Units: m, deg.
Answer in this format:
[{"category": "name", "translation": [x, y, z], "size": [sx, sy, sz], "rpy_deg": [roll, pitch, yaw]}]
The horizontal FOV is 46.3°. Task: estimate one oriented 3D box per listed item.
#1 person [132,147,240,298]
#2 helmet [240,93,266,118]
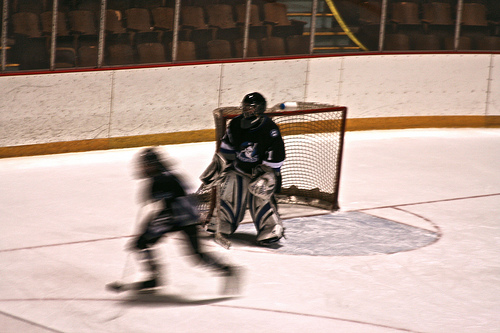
[{"category": "person", "translation": [-0.597, 0.516, 5.652], "size": [1.046, 1.425, 0.597], "rpy_deg": [1, 18, -1]}, {"category": "helmet", "translation": [0.046, -0.674, 6.464], "size": [0.260, 0.277, 0.127], "rpy_deg": [1, 18, -2]}]
